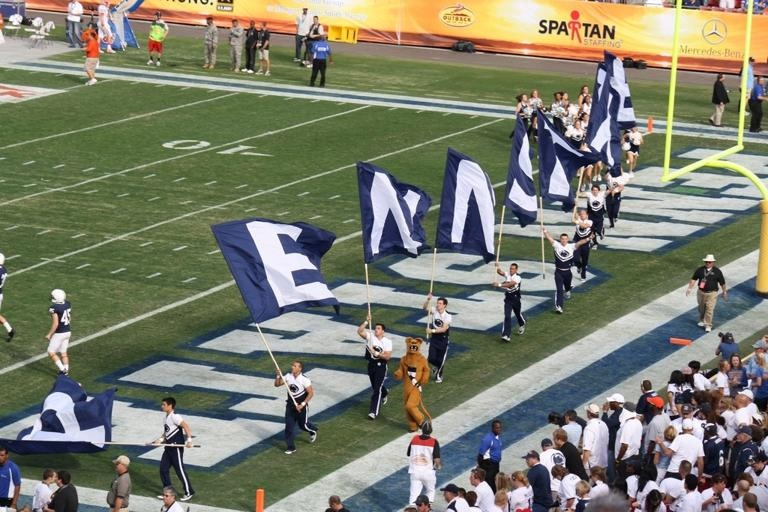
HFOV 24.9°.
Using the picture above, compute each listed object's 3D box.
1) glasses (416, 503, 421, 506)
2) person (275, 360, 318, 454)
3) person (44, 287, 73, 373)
[{"bbox_3d":[0.858,6.088,42.559,0.073,0.052,0.018,16,23,-7],"label":"glasses"},{"bbox_3d":[-2.378,4.012,46.696,1.319,2.209,1.259,5,-2,-8],"label":"person"},{"bbox_3d":[-9.299,2.247,49.045,1.165,2.389,0.974,-1,-4,7],"label":"person"}]
